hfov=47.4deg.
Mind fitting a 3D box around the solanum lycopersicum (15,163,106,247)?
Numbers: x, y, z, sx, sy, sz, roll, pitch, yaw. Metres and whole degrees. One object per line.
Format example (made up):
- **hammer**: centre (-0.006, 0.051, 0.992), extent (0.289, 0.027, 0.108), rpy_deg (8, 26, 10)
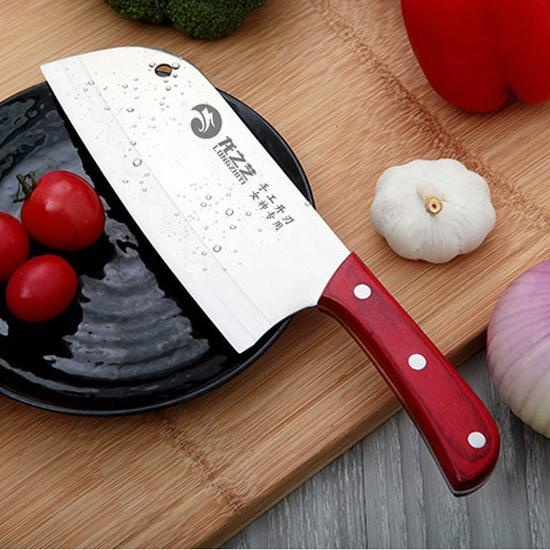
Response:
- **solanum lycopersicum**: centre (-0.237, -0.069, 0.697), extent (0.079, 0.060, 0.083), rpy_deg (33, 67, 18)
